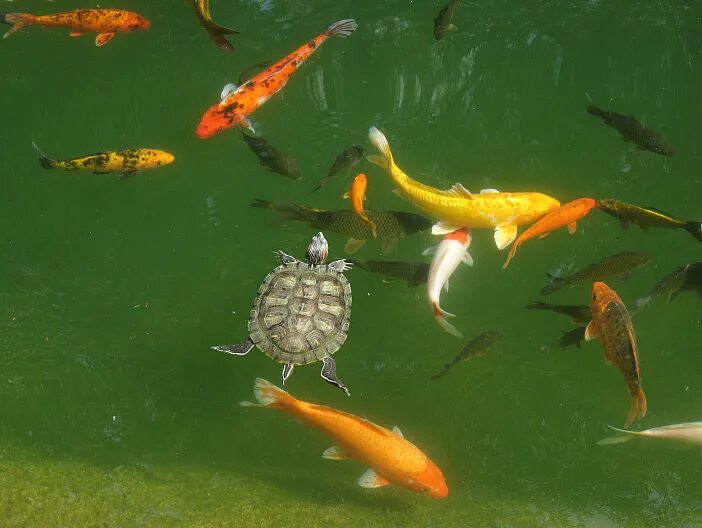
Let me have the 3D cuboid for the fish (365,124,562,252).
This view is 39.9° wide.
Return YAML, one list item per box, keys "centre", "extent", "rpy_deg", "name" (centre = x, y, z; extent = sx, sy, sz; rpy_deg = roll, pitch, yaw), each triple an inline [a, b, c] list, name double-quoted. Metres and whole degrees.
- centre: [1.900, -0.603, 15.369]
  extent: [3.060, 1.118, 1.663]
  rpy_deg: [6, 62, 5]
  name: "fish"

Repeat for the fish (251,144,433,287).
- centre: [0.229, -0.618, 14.545]
  extent: [1.377, 1.710, 1.329]
  rpy_deg: [8, 25, 44]
  name: "fish"

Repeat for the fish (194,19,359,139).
- centre: [-1.074, -2.756, 14.864]
  extent: [2.098, 0.495, 0.568]
  rpy_deg: [-42, 85, -12]
  name: "fish"

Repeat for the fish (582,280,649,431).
- centre: [3.718, 1.153, 13.689]
  extent: [0.664, 0.855, 2.247]
  rpy_deg: [-5, 69, 0]
  name: "fish"

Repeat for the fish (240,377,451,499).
- centre: [-0.032, 2.557, 14.102]
  extent: [3.182, 1.299, 1.272]
  rpy_deg: [26, 60, 5]
  name: "fish"

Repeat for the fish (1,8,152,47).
- centre: [-4.154, -3.622, 14.787]
  extent: [2.097, 0.693, 0.320]
  rpy_deg: [9, 34, -5]
  name: "fish"

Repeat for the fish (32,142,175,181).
- centre: [-3.709, -1.530, 14.798]
  extent: [2.000, 0.668, 0.463]
  rpy_deg: [8, 35, -6]
  name: "fish"
